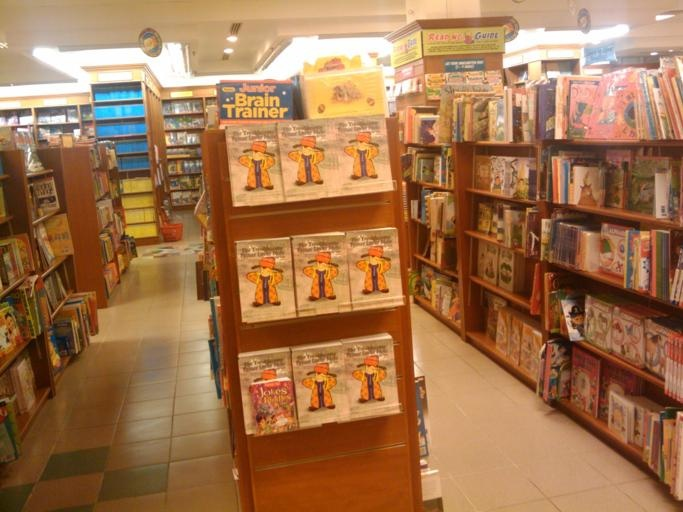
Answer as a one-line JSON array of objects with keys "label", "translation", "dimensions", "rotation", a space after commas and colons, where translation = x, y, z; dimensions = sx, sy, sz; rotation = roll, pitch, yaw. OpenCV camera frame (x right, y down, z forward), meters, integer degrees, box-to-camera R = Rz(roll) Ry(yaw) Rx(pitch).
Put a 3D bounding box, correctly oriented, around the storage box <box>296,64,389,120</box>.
[{"label": "storage box", "translation": [0.025, -0.810, 2.628], "dimensions": [0.390, 0.258, 0.227], "rotation": [-6, -6, 4]}]
